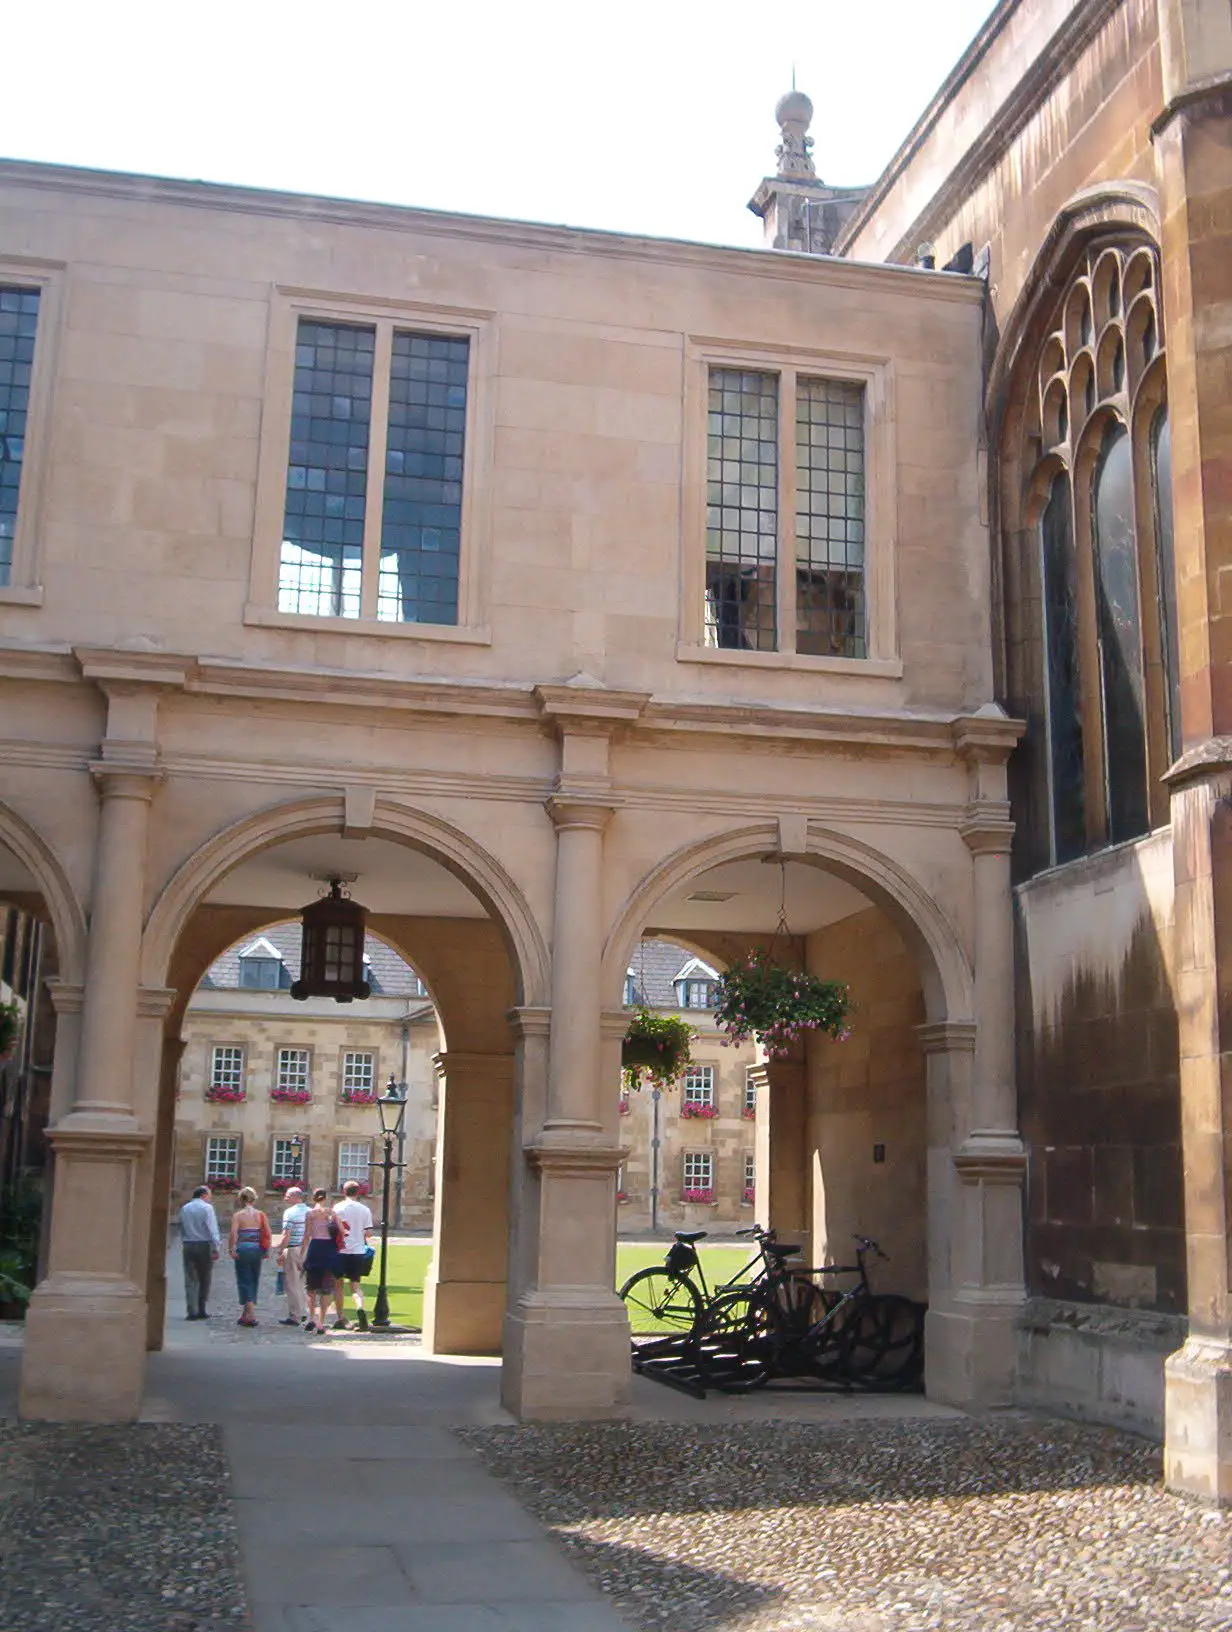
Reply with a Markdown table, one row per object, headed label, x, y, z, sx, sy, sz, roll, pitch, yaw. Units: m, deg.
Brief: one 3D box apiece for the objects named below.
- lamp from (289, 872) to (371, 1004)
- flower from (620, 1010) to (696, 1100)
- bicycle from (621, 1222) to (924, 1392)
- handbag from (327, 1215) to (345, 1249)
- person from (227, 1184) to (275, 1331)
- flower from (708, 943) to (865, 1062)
| label | x | y | z | sx | sy | sz | roll | pitch | yaw |
| --- | --- | --- | --- | --- | --- | --- | --- | --- | --- |
| lamp | -2.106 | 0.892 | 11.256 | 0.521 | 0.971 | 1.078 | 3 | -13 | -12 |
| flower | 0.335 | 1.918 | 12.632 | 0.546 | 0.663 | 1.193 | -1 | -12 | 2 |
| bicycle | 1.254 | 3.800 | 11.670 | 2.136 | 1.071 | 1.471 | -2 | -12 | 7 |
| handbag | -2.737 | 4.058 | 14.746 | 0.131 | 0.342 | 0.402 | 1 | -12 | -5 |
| person | -4.001 | 4.815 | 16.504 | 0.384 | 1.439 | 1.835 | 3 | -13 | -12 |
| flower | 1.205 | 1.291 | 10.861 | 1.216 | 0.883 | 1.216 | 5 | -16 | 8 |
